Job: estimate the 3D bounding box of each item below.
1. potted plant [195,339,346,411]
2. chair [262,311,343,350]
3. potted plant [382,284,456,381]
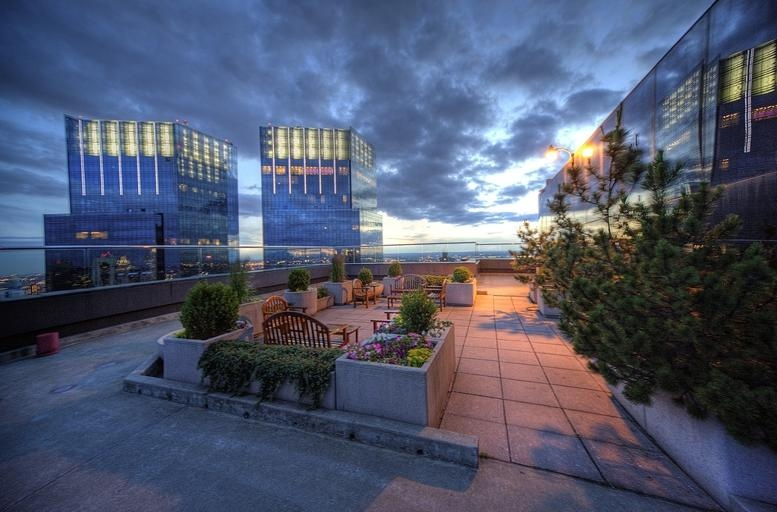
[{"bbox_3d":[-2.233,2.218,7.700,2.400,0.695,1.294,11,2,-5],"label":"potted plant"},{"bbox_3d":[-1.956,1.672,8.753,1.088,0.671,0.549,2,6,10],"label":"chair"},{"bbox_3d":[0.671,1.373,7.767,1.388,1.602,1.223,-1,-19,-7],"label":"potted plant"}]
